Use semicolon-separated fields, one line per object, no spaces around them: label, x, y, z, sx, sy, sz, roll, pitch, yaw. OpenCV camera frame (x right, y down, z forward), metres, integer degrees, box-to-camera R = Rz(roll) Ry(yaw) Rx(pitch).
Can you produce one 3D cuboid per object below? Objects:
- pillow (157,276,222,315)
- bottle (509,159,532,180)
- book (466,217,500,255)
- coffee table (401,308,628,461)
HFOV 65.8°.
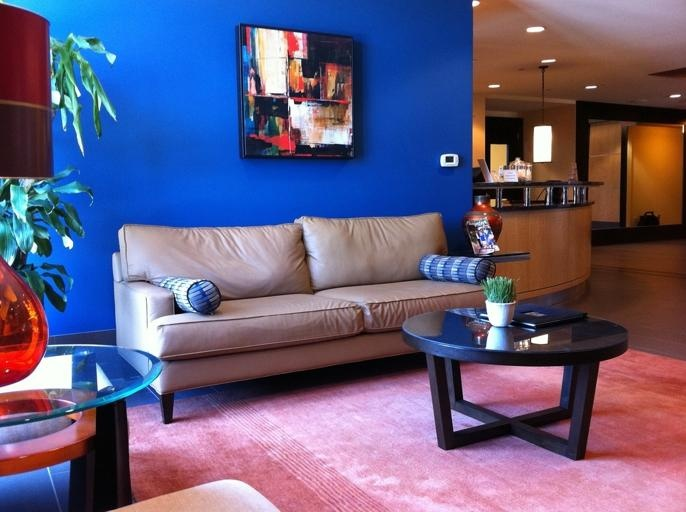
pillow;-0.849;0.206;2.907;0.341;0.143;0.171;16;7;35
bottle;2.032;-0.983;6.103;0.247;0.250;0.701;1;8;17
book;1.120;-0.152;4.336;0.194;0.346;0.101;-14;-15;3
coffee table;0.775;0.490;2.371;0.729;0.408;0.746;0;9;8
